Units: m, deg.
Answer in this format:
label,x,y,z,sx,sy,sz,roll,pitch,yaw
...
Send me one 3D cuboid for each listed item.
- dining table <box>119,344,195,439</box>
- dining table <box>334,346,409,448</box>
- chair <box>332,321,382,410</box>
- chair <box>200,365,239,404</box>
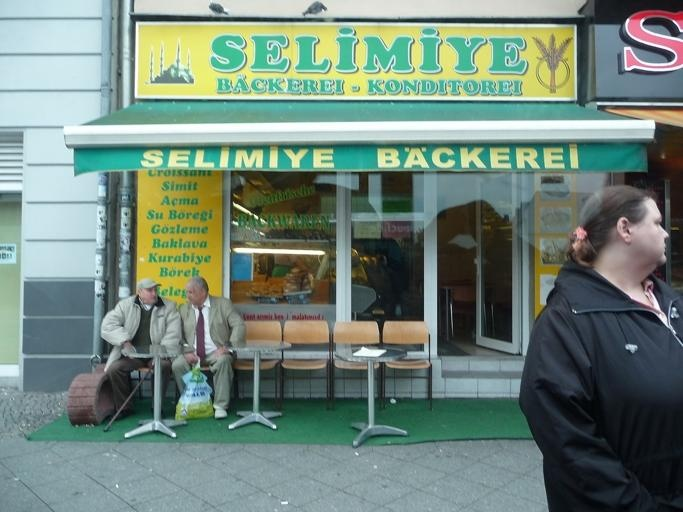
label,x,y,z,sx,sy,sz,roll,pitch,yaw
dining table,-2.244,1.654,9.353,0.924,1.041,0.926,0,-3,-1
dining table,0.231,1.663,9.464,1.014,1.116,1.028,1,1,-25
chair,0.181,1.341,10.678,0.824,1.318,0.951,1,-7,0
chair,-1.638,1.775,10.287,0.664,0.607,0.474,0,-7,-3
